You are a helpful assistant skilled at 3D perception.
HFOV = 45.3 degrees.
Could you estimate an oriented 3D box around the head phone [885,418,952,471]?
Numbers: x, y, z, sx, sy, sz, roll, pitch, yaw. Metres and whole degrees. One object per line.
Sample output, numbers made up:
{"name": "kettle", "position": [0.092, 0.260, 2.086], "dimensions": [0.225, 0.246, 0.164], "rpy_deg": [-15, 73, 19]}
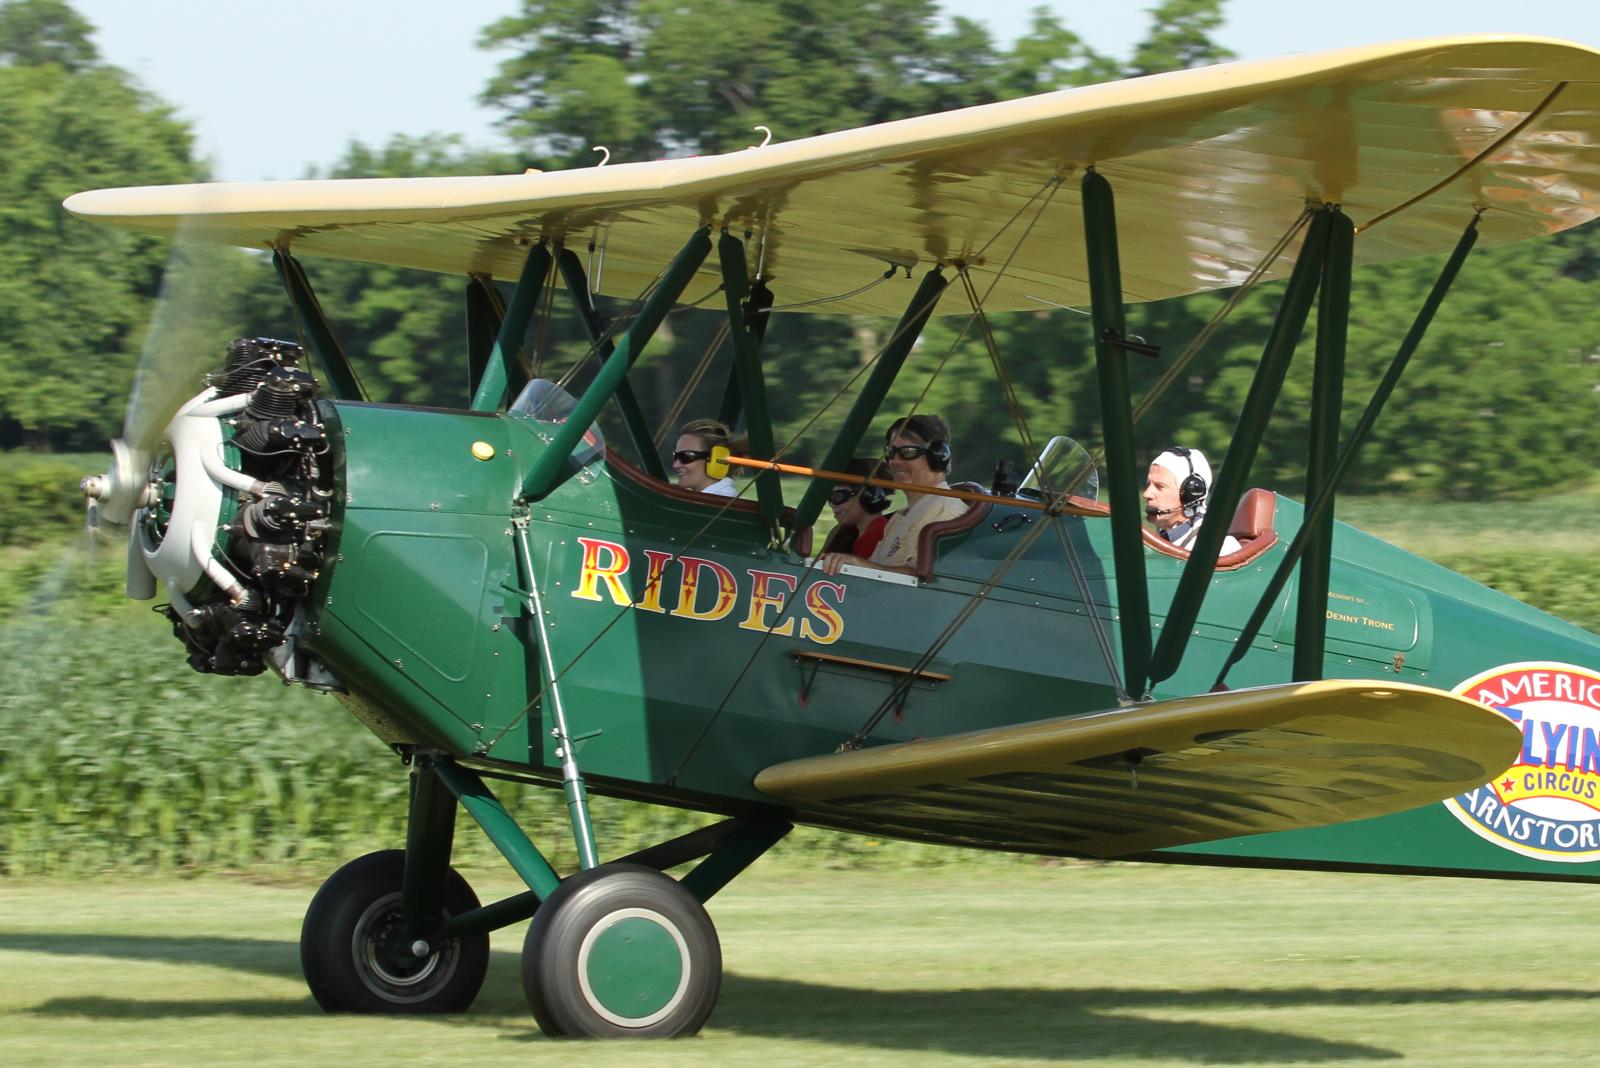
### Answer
{"name": "head phone", "position": [0.564, -0.425, 9.215], "dimensions": [0.305, 0.182, 0.307], "rpy_deg": [25, -25, -34]}

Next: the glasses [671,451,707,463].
{"name": "glasses", "position": [-0.567, -0.389, 9.711], "dimensions": [0.127, 0.019, 0.096], "rpy_deg": [7, -6, -20]}
